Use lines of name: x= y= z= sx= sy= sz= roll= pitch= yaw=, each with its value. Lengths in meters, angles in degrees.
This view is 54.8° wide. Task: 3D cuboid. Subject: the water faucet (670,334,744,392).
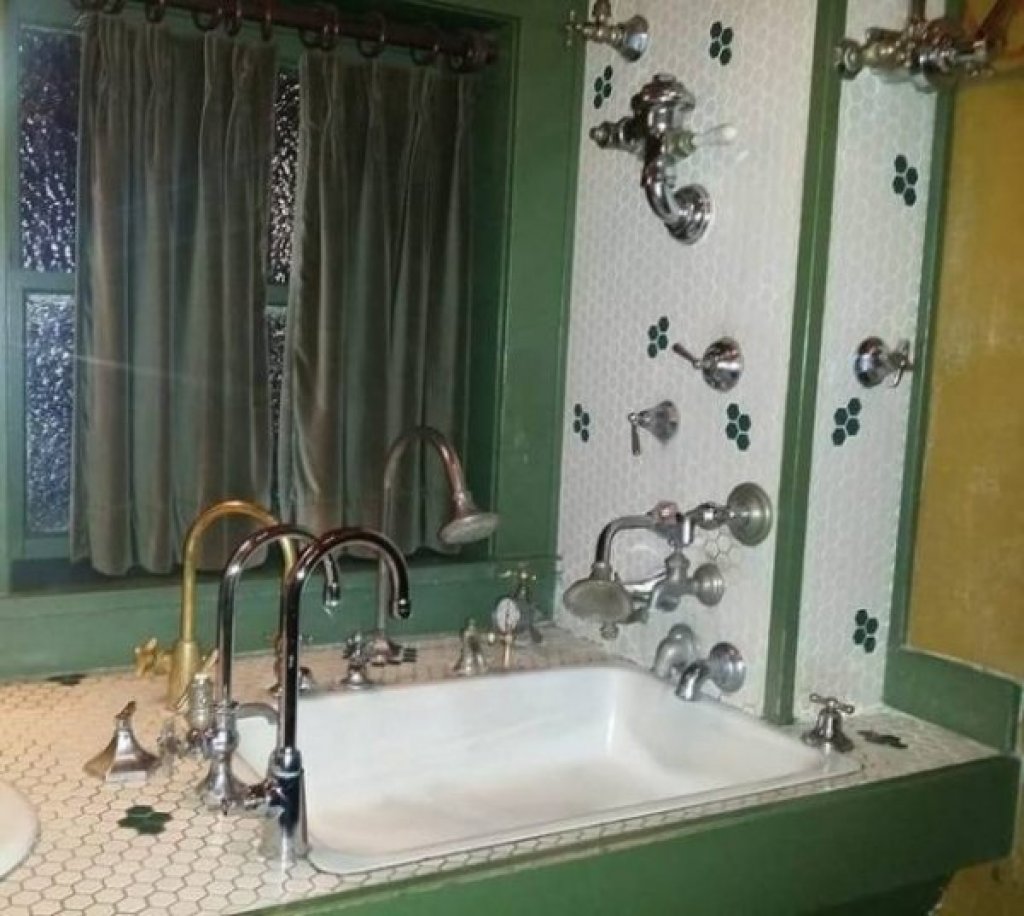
water faucet: x=0.379 y=-0.182 z=1.908 sx=0.116 sy=0.083 sz=0.074 roll=16 pitch=25 yaw=33

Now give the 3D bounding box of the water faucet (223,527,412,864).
water faucet: x=-0.247 y=0.299 z=1.303 sx=0.224 sy=0.470 sz=0.076 roll=-7 pitch=25 yaw=-31

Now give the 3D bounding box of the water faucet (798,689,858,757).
water faucet: x=0.573 y=0.468 z=1.766 sx=0.074 sy=0.081 sz=0.110 roll=12 pitch=9 yaw=39

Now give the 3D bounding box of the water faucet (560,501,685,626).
water faucet: x=0.235 y=0.211 z=1.974 sx=0.132 sy=0.246 sz=0.312 roll=-8 pitch=-12 yaw=36

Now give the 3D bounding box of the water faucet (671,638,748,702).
water faucet: x=0.373 y=0.406 z=1.899 sx=0.112 sy=0.124 sz=0.099 roll=1 pitch=15 yaw=-19

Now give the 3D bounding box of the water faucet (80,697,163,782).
water faucet: x=-0.581 y=0.408 z=1.483 sx=0.087 sy=0.111 sz=0.108 roll=-8 pitch=44 yaw=-27

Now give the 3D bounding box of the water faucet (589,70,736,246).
water faucet: x=0.313 y=-0.555 z=1.811 sx=0.197 sy=0.311 sz=0.355 roll=-3 pitch=12 yaw=-31

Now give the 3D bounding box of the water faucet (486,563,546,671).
water faucet: x=0.024 y=0.338 z=2.177 sx=0.087 sy=0.190 sz=0.102 roll=-5 pitch=-7 yaw=6

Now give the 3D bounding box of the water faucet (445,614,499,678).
water faucet: x=-0.083 y=0.393 z=2.029 sx=0.076 sy=0.062 sz=0.142 roll=0 pitch=1 yaw=-17

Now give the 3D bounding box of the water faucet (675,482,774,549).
water faucet: x=0.396 y=0.106 z=1.804 sx=0.131 sy=0.119 sz=0.049 roll=-4 pitch=-1 yaw=44

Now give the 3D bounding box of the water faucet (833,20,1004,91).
water faucet: x=0.683 y=-0.716 z=1.754 sx=0.314 sy=0.150 sz=0.134 roll=4 pitch=29 yaw=22

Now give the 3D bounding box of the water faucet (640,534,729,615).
water faucet: x=0.328 y=0.216 z=1.921 sx=0.135 sy=0.201 sz=0.100 roll=-2 pitch=34 yaw=-8

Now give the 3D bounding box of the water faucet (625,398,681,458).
water faucet: x=0.292 y=-0.079 z=2.038 sx=0.109 sy=0.124 sz=0.069 roll=-28 pitch=36 yaw=-33
